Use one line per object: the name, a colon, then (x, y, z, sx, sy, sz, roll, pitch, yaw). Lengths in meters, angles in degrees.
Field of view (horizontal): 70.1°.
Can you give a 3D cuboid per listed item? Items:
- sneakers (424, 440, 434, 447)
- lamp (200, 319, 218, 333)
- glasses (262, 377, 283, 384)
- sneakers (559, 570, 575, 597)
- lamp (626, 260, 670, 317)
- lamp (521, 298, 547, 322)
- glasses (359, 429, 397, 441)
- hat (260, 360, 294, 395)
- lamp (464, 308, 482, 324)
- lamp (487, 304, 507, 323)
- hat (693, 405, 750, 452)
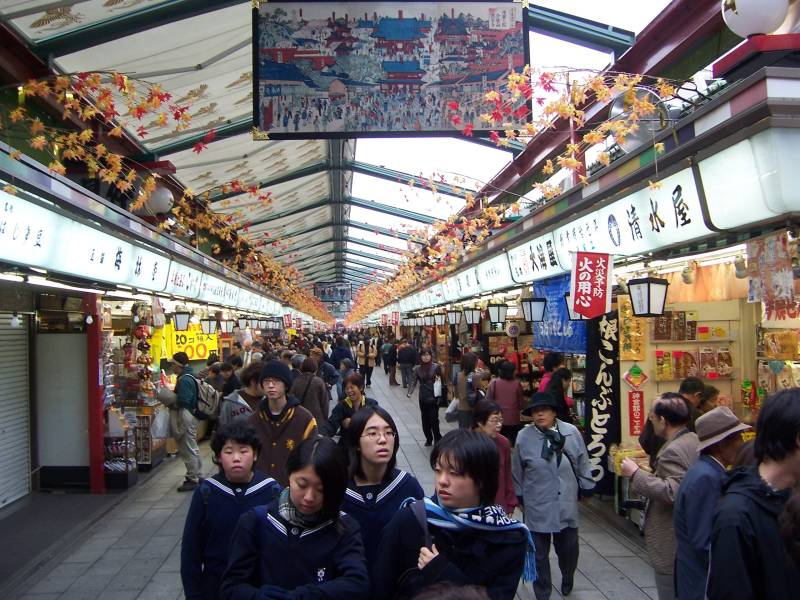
sneakers: (0.552, 2.617, 10.437, 0.140, 0.141, 0.063, 3, -6, 0)
lamp: (-4.417, 0.533, 13.119, 0.347, 0.268, 0.302, 0, 17, -7)
glasses: (-1.034, 0.640, 4.654, 0.144, 0.041, 0.035, 0, 0, -16)
sneakers: (1.469, 2.439, 4.975, 0.089, 0.261, 0.069, 2, 5, 22)
lamp: (2.423, -0.068, 5.584, 0.393, 0.596, 0.385, 7, -12, -40)
lamp: (2.005, 0.144, 8.543, 0.351, 0.348, 0.319, 1, -8, -3)
glasses: (-0.127, 0.827, 3.511, 0.201, 0.040, 0.088, 0, -1, -18)
hat: (-0.987, 0.634, 4.678, 0.193, 0.202, 0.263, 4, -33, 11)
lamp: (1.717, 0.347, 13.123, 0.330, 0.304, 0.361, 0, 6, 16)
lamp: (1.978, 0.252, 11.424, 0.403, 0.341, 0.356, 1, -11, -1)
hat: (1.989, 0.767, 3.584, 0.282, 0.150, 0.264, -27, -2, 10)
